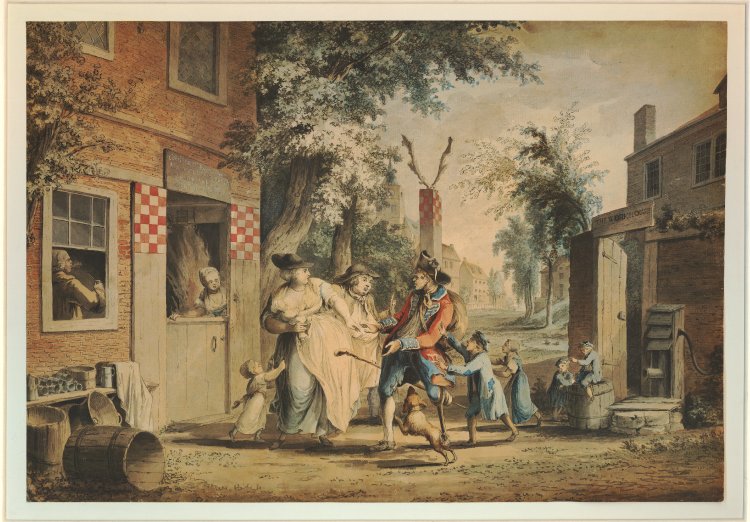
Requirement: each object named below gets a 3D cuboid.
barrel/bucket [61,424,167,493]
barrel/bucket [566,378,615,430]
[{"bbox_3d":[-4.074,3.083,19.477,1.591,1.055,0.576,0,-10,-14],"label":"barrel/bucket"},{"bbox_3d":[3.525,2.304,20.340,0.760,0.753,0.756,-3,9,1],"label":"barrel/bucket"}]
